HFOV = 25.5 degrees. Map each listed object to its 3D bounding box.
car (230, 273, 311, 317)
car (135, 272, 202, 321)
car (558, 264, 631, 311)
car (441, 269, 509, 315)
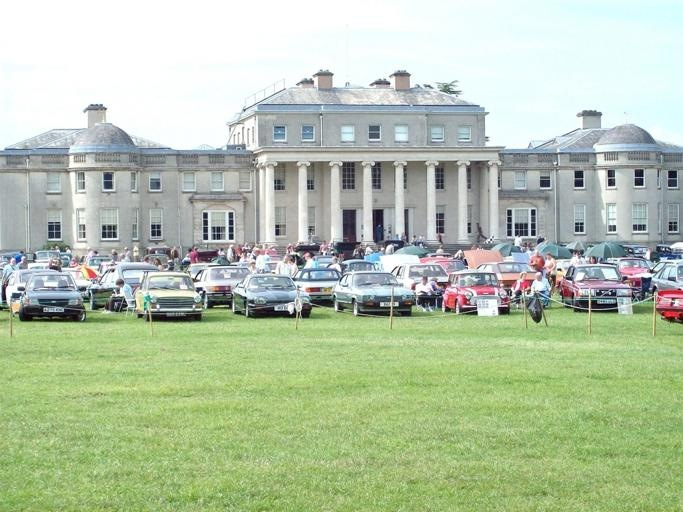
[{"bbox_3d":[-2.171,1.422,46.801,1.906,1.320,2.904,-4,10,-29],"label":"car"},{"bbox_3d":[-5.187,1.342,45.579,1.797,1.416,2.155,-1,10,-15],"label":"car"},{"bbox_3d":[8.112,1.218,48.278,2.042,1.678,1.779,-1,3,2],"label":"car"},{"bbox_3d":[4.216,1.308,47.415,1.910,1.277,2.410,1,9,-5],"label":"car"}]
